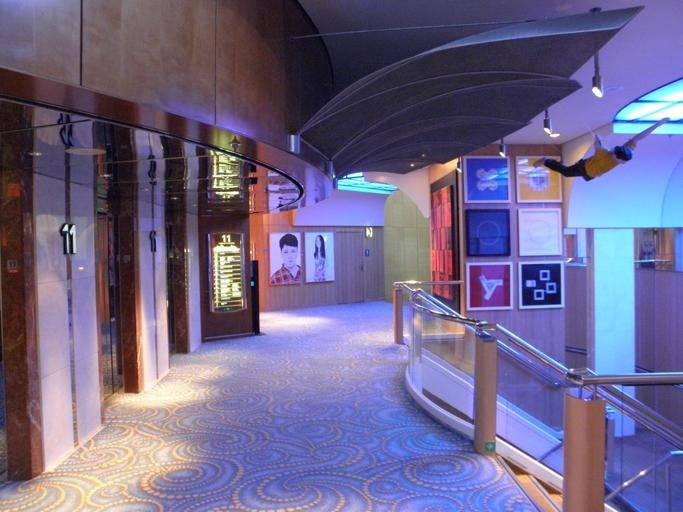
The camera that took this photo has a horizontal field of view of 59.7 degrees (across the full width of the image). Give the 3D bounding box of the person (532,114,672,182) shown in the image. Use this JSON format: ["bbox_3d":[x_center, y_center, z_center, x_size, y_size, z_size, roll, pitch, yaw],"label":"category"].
[{"bbox_3d":[3.403,-1.290,7.973,1.108,0.410,1.716,-20,6,-26],"label":"person"}]
